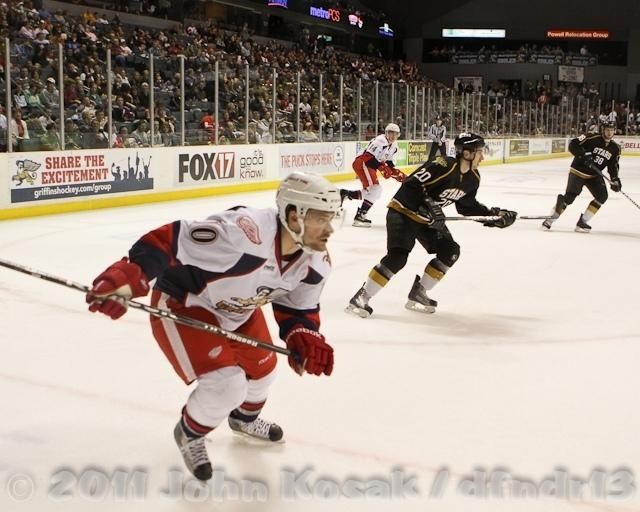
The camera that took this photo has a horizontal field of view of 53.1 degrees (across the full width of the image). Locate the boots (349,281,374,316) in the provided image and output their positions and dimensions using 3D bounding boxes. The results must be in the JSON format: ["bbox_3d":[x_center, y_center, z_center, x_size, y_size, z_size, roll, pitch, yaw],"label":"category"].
[{"bbox_3d":[0.377,0.337,4.980,0.248,0.226,0.115,18,1,27],"label":"boots"}]

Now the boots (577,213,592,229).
[{"bbox_3d":[3.626,-0.463,8.817,0.181,0.241,0.249,10,16,33],"label":"boots"}]

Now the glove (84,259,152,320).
[{"bbox_3d":[-0.729,0.126,2.334,0.235,0.195,0.099,-34,22,-36],"label":"glove"}]

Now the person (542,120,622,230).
[{"bbox_3d":[3.751,-1.129,8.945,0.673,1.496,0.932,10,16,32],"label":"person"}]

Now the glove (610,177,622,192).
[{"bbox_3d":[4.230,-1.025,9.200,0.162,0.203,0.069,15,-29,-23],"label":"glove"}]

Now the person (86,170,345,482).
[{"bbox_3d":[-0.410,0.298,2.693,0.951,1.296,0.408,-4,15,-20],"label":"person"}]

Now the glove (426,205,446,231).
[{"bbox_3d":[0.897,-0.290,4.875,0.070,0.170,0.135,-10,-5,0],"label":"glove"}]

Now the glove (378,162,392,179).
[{"bbox_3d":[0.955,-1.248,9.250,0.084,0.194,0.180,-9,-13,11],"label":"glove"}]

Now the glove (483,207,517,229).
[{"bbox_3d":[1.558,-0.340,5.541,0.214,0.091,0.205,-6,46,37],"label":"glove"}]

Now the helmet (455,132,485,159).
[{"bbox_3d":[1.140,-0.865,4.959,0.252,0.223,0.203,-11,3,5],"label":"helmet"}]
